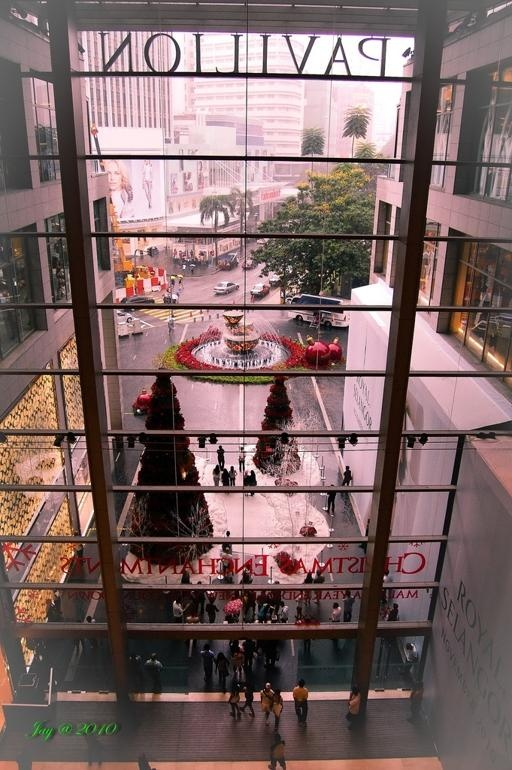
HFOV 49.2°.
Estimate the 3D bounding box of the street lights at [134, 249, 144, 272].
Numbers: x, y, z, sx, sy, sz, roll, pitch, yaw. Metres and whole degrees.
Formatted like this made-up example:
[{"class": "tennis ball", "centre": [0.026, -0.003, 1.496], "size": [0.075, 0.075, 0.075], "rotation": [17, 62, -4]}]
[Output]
[{"class": "street lights", "centre": [-2.098, -2.255, 10.079], "size": [0.160, 0.474, 0.672], "rotation": [-4, 20, -11]}]
